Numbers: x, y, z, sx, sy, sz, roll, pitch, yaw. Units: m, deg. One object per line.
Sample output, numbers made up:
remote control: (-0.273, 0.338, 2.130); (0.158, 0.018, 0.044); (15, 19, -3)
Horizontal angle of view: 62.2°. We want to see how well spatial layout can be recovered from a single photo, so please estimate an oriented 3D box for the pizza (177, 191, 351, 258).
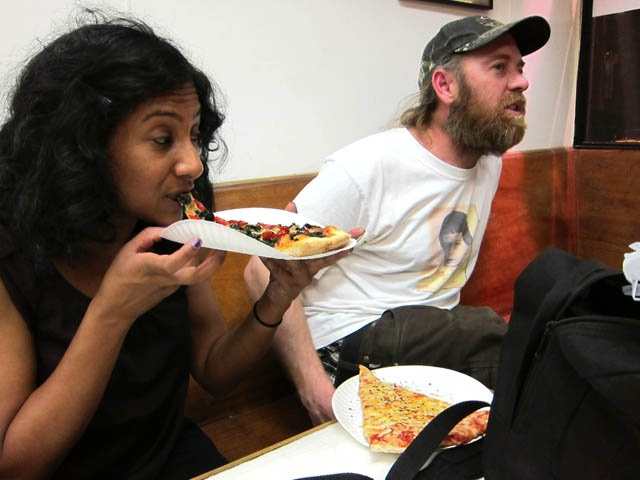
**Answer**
pizza: (-0.145, -0.026, 1.584); (0.353, 0.062, 0.240); (15, 11, 8)
